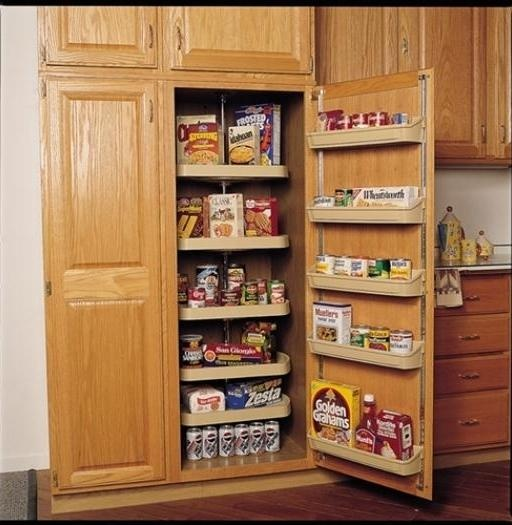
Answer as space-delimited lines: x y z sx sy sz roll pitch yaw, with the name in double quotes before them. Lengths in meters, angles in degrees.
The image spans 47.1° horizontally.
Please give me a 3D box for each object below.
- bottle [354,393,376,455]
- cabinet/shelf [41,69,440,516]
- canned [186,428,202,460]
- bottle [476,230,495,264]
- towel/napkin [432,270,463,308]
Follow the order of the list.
"bottle" 0.445 0.654 2.382 0.087 0.224 0.083 -2 9 0
"cabinet/shelf" -0.028 0.111 2.508 1.506 1.783 0.871 0 10 15
"canned" -0.277 0.811 2.637 0.084 0.125 0.078 0 -6 -5
"bottle" 1.273 -0.098 3.263 0.092 0.161 0.446 1 9 20
"towel/napkin" 0.958 0.116 2.830 0.118 0.192 0.163 -7 2 -41
